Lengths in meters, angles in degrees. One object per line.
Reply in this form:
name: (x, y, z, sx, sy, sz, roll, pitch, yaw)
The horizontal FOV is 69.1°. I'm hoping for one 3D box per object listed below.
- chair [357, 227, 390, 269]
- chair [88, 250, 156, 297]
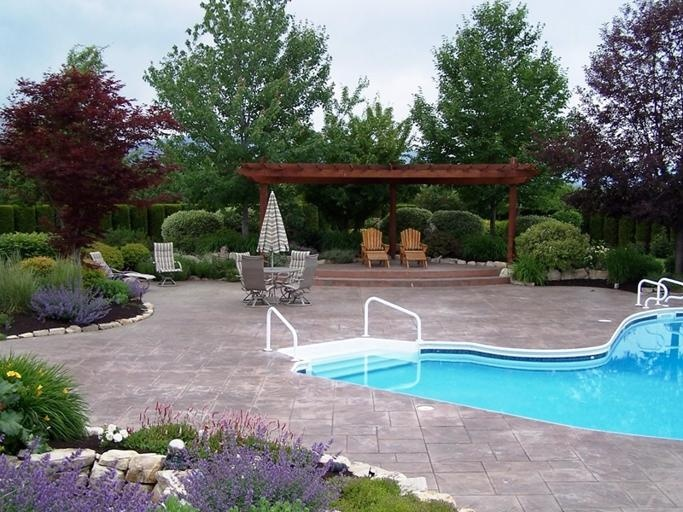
chair: (1.193, -0.348, 17.267, 0.883, 1.053, 1.501, -1, 7, -6)
chair: (-5.738, 0.523, 12.959, 1.215, 0.732, 0.587, -7, 22, -29)
